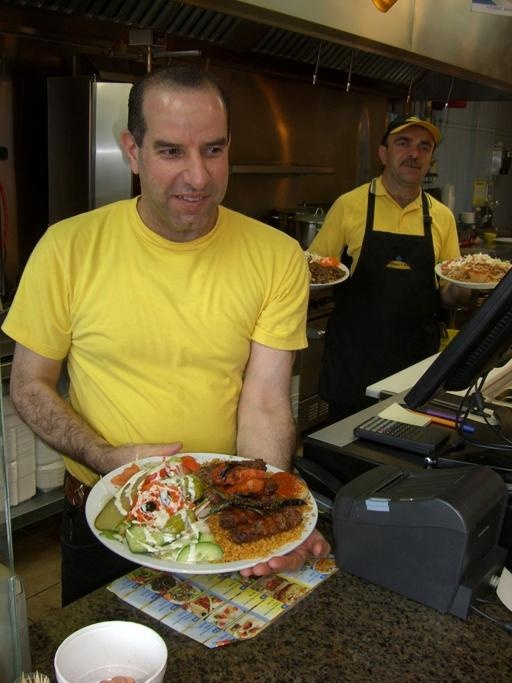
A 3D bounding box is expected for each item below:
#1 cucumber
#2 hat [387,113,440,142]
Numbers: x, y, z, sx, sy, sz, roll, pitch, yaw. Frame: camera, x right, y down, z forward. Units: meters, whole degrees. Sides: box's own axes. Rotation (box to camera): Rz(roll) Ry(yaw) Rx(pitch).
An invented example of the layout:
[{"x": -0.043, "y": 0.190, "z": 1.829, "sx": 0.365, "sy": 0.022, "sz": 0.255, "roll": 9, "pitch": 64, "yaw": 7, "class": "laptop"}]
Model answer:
[{"x": -0.118, "y": 0.307, "z": 0.818, "sx": 0.077, "sy": 0.020, "sz": 0.073, "roll": 1, "pitch": 4, "yaw": 12, "class": "cucumber"}, {"x": 0.829, "y": -1.088, "z": 2.800, "sx": 0.320, "sy": 0.125, "sz": 0.204, "roll": -10, "pitch": 17, "yaw": -42, "class": "hat"}]
